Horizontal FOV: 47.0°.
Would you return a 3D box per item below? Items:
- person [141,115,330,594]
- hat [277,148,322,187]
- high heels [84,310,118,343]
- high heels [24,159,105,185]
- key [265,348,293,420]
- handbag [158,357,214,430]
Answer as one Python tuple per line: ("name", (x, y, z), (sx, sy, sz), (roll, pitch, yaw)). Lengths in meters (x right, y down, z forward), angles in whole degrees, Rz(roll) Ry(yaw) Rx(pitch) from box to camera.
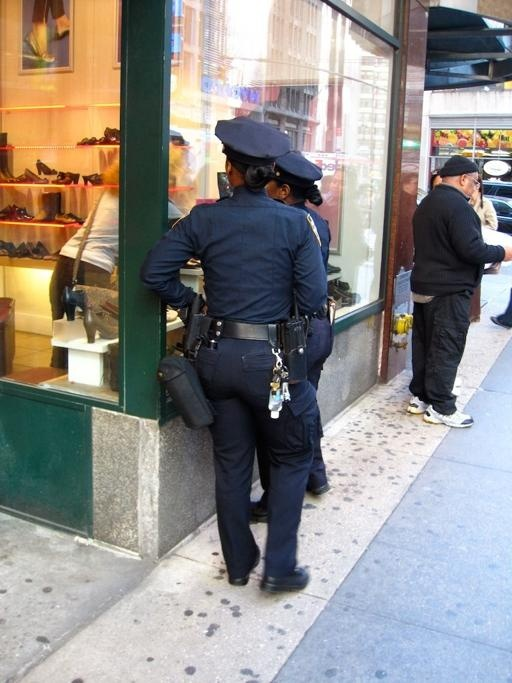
("person", (-0.063, 0.102, 2.004), (0.513, 1.648, 0.362), (4, 9, 17))
("hat", (0.175, -0.699, 2.370), (0.177, 0.176, 0.193), (11, 20, 25))
("high heels", (-0.619, -0.060, 2.364), (0.083, 0.125, 0.237), (3, 10, 8))
("high heels", (-0.797, -0.719, 2.478), (0.336, 0.131, 0.184), (4, 15, 10))
("key", (0.064, 0.137, 1.848), (0.105, 0.199, 0.093), (16, 20, -6))
("handbag", (-0.221, 0.143, 1.981), (0.180, 0.224, 0.232), (9, 16, 18))
